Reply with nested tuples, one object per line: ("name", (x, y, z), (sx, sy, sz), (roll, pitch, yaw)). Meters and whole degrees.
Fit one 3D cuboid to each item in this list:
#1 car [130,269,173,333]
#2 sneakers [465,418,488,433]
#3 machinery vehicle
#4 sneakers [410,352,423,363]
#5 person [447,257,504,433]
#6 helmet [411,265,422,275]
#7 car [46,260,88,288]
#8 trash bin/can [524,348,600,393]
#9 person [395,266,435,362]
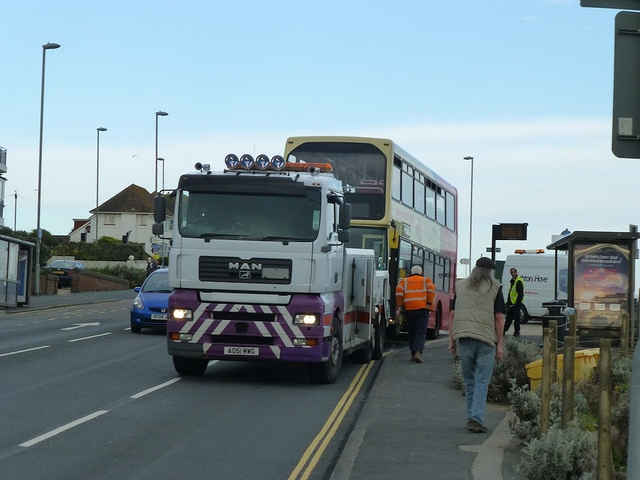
("car", (-4.975, 1.800, 22.715), (1.507, 1.541, 2.990), (0, -4, -3))
("sneakers", (1.946, 2.301, 9.412), (0.111, 0.144, 0.288), (0, -3, 35))
("machinery vehicle", (-0.420, 0.543, 16.669), (3.194, 4.322, 7.779), (1, -2, 14))
("sneakers", (2.144, 2.564, 16.676), (0.259, 0.211, 0.289), (-1, -1, 11))
("person", (2.014, 1.311, 9.745), (0.602, 2.158, 0.660), (-1, -1, 41))
("helmet", (2.194, 0.693, 17.016), (0.161, 0.218, 0.205), (3, 20, 2))
("car", (-16.989, 2.399, 51.048), (1.639, 1.379, 3.881), (0, 5, 0))
("trash bin/can", (3.238, 1.650, 9.980), (0.924, 0.538, 0.686), (1, -5, -38))
("person", (2.133, 1.627, 16.842), (0.837, 2.092, 0.607), (0, -1, 6))
